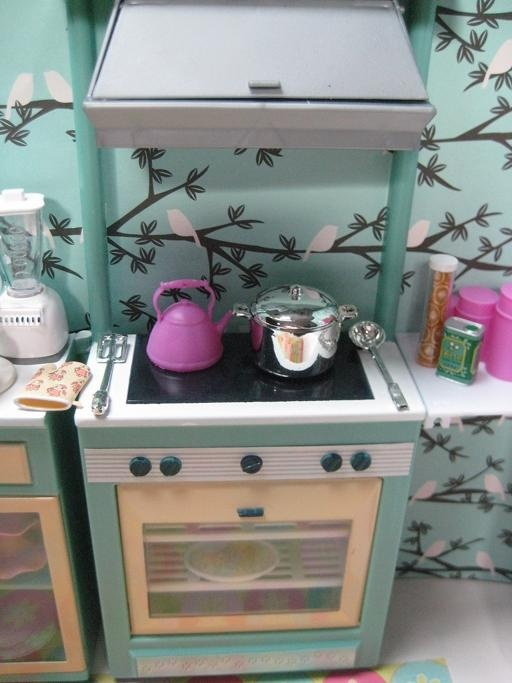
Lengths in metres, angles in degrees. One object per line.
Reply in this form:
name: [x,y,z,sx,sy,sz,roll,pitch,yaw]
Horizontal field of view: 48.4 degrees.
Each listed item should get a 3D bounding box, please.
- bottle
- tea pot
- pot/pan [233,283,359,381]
bottle: [0.440,-0.074,1.414,0.062,0.267,0.104,10,30,15]
tea pot: [-0.179,-0.052,1.385,0.221,0.184,0.199,-2,25,-17]
pot/pan: [0.119,-0.040,1.376,0.275,0.194,0.204,-20,35,-35]
